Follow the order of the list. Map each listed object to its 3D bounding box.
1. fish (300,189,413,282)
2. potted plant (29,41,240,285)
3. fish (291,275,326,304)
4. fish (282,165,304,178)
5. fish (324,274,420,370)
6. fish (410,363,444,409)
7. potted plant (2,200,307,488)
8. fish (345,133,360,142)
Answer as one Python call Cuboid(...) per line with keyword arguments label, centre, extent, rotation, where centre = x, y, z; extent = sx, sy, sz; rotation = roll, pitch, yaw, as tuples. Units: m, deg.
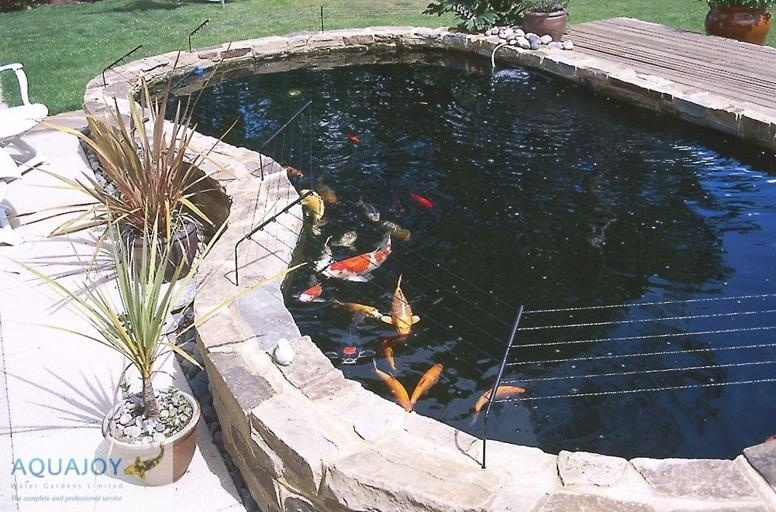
Cuboid(label="fish", centre=(-0.334, -0.033, 7.665), extent=(0.665, 0.575, 0.957), rotation=(48, 48, 8))
Cuboid(label="potted plant", centre=(-2.647, -0.586, 7.347), extent=(2.382, 2.149, 2.342), rotation=(-6, 4, -23))
Cuboid(label="fish", centre=(-0.810, 0.379, 7.093), extent=(0.210, 0.121, 0.267), rotation=(23, 35, -1))
Cuboid(label="fish", centre=(-1.323, -1.165, 8.884), extent=(0.352, 0.130, 0.101), rotation=(11, 73, 24))
Cuboid(label="fish", centre=(-0.167, 0.654, 6.787), extent=(1.004, 0.468, 0.733), rotation=(-11, 33, -21))
Cuboid(label="fish", centre=(0.368, 1.278, 6.308), extent=(0.079, 0.160, 0.403), rotation=(38, 72, 19))
Cuboid(label="potted plant", centre=(-2.225, 0.971, 5.729), extent=(2.476, 2.099, 1.785), rotation=(2, 17, 14))
Cuboid(label="fish", centre=(-0.528, -1.758, 9.716), extent=(0.133, 0.065, 0.181), rotation=(9, 23, -48))
